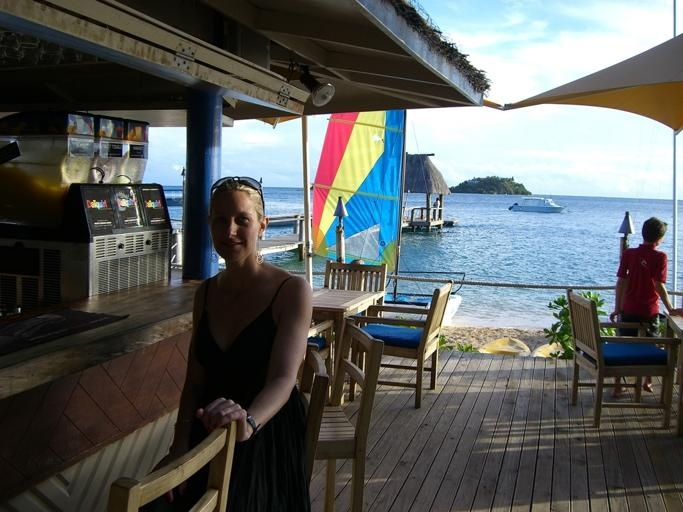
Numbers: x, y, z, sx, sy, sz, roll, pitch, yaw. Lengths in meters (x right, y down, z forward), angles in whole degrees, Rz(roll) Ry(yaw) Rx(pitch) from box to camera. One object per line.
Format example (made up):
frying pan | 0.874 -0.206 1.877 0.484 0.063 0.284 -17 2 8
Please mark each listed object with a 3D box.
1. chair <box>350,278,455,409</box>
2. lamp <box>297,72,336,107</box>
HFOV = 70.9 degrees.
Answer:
chair | 0.817 0.832 5.425 1.095 1.686 1.099 4 1 18
lamp | -0.272 -1.737 4.992 0.285 0.395 0.494 -1 8 -17
